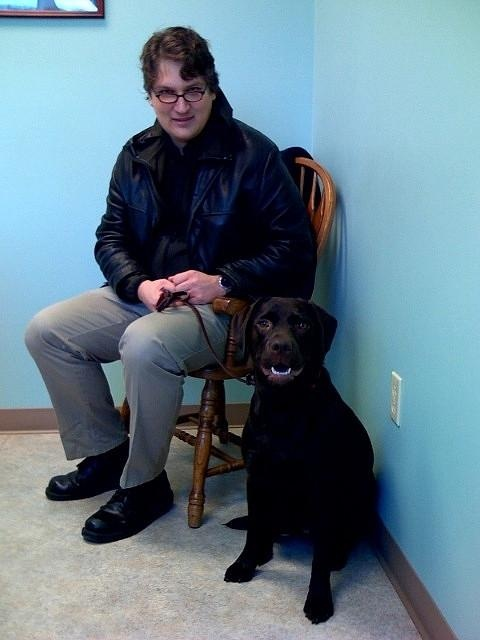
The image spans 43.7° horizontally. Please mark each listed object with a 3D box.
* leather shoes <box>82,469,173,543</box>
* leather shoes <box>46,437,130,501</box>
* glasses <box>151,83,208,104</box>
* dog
[{"bbox_3d":[-0.288,0.502,1.619,0.096,0.106,0.262,7,8,35],"label":"leather shoes"},{"bbox_3d":[-0.439,0.457,1.824,0.331,0.122,0.103,-1,7,-27],"label":"leather shoes"},{"bbox_3d":[-0.155,-0.603,1.601,0.135,0.046,0.035,-2,9,-10],"label":"glasses"},{"bbox_3d":[0.119,0.272,1.300,0.277,0.631,0.308,3,10,22],"label":"dog"}]
